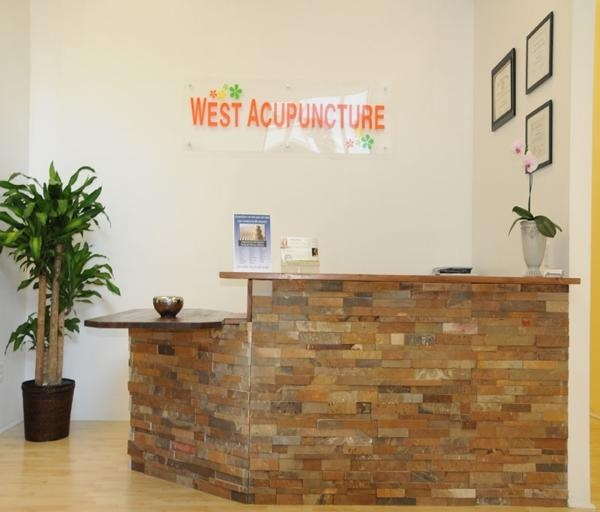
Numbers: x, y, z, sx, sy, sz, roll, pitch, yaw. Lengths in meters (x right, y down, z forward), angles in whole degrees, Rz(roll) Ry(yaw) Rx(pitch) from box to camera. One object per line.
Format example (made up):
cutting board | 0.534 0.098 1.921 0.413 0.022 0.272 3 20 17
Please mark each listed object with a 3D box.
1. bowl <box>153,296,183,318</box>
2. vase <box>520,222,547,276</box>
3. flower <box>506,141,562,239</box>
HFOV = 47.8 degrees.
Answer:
bowl | -0.885 0.336 4.611 0.139 0.109 0.150 -1 -11 0
vase | 1.540 -0.058 4.434 0.157 0.359 0.135 -2 9 -6
flower | 1.593 -0.451 4.548 0.284 0.686 0.343 -2 2 21
